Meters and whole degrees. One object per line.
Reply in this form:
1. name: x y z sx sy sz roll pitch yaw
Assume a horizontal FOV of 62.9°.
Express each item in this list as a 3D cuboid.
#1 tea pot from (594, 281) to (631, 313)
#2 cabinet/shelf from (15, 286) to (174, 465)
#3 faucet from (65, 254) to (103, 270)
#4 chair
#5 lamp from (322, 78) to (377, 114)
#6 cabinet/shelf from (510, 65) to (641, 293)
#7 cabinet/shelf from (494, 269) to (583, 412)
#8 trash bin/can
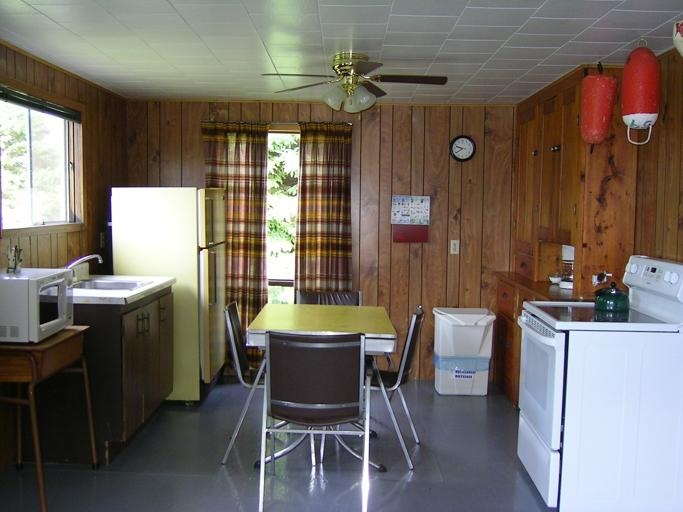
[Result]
1. tea pot: 1.815 0.261 3.773 0.193 0.209 0.208 1 3 0
2. cabinet/shelf: -1.841 0.774 4.573 0.902 1.522 1.757 -1 4 -4
3. faucet: -2.119 0.043 4.608 0.066 0.108 0.355 9 13 25
4. chair: -0.091 0.815 3.915 1.207 0.854 1.260 0 5 -1
5. lamp: 0.061 -1.095 3.828 0.341 0.169 0.190 2 5 13
6. cabinet/shelf: 1.915 -0.628 4.731 0.424 1.728 1.237 0 5 -8
7. cabinet/shelf: 1.745 0.839 5.009 0.388 1.033 1.076 -6 17 -12
8. trash bin/can: 1.173 0.904 5.373 0.608 0.781 0.659 1 7 -4
